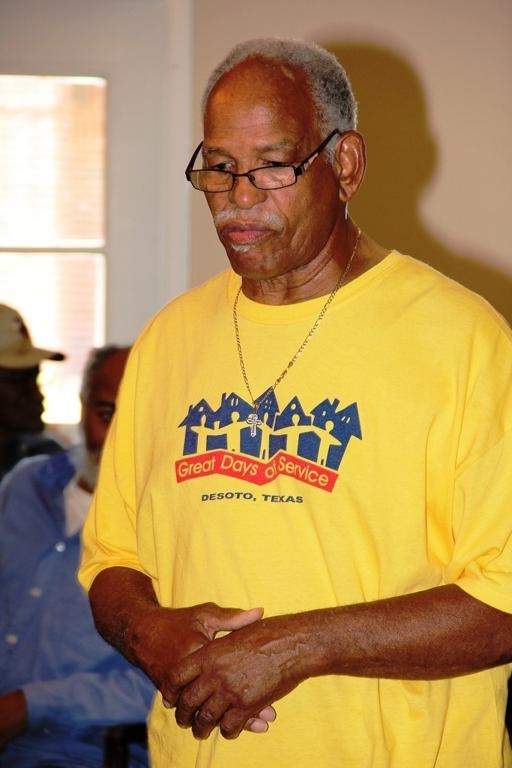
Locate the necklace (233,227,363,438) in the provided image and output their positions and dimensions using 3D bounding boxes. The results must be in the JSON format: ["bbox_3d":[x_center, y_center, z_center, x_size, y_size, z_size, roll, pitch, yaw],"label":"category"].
[{"bbox_3d":[0.056,-0.069,1.092,0.137,0.310,0.016,11,-11,28],"label":"necklace"}]
